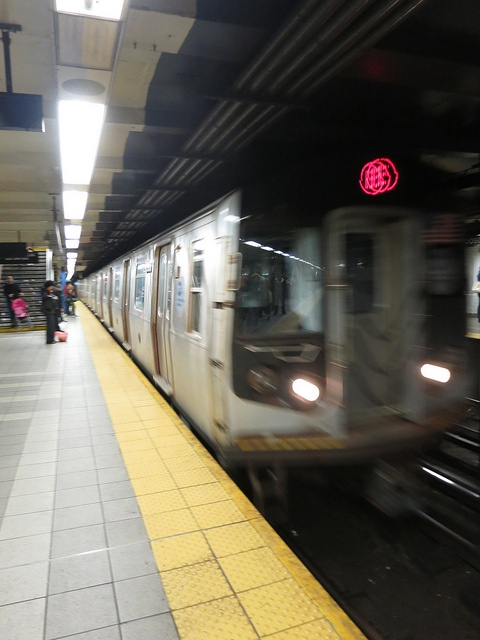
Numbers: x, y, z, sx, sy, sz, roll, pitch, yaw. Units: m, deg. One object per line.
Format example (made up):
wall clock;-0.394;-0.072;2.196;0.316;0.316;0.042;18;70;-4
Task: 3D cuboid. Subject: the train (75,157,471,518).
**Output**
train;0.039;0.056;3.274;0.731;2.272;3.059;-2;1;-36

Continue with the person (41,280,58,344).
person;-5.312;-0.208;11.502;0.343;1.442;0.686;-2;1;-26

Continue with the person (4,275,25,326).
person;-8.121;-0.591;14.727;0.459;1.609;0.767;-2;1;-30
